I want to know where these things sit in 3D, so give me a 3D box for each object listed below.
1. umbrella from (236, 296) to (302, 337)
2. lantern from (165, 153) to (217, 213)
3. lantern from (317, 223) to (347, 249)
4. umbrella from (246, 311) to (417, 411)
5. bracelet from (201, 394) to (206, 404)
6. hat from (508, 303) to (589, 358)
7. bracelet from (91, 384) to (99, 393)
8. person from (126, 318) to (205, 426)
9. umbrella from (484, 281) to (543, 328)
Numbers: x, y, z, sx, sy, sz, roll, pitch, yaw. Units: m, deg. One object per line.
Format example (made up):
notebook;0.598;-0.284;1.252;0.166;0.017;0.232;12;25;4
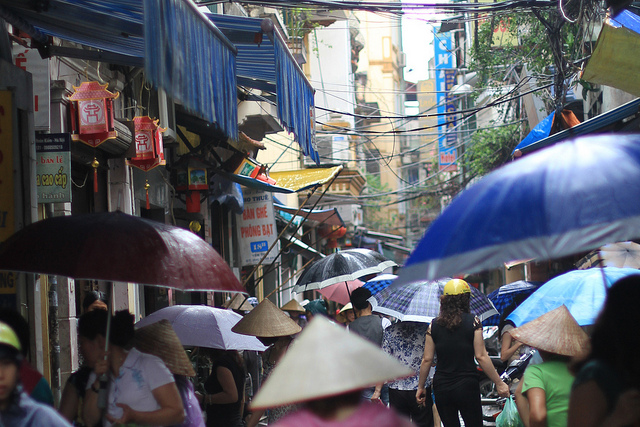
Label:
umbrella;-0.664;1.343;14.047;0.966;0.474;1.050;-3;-9;1
lantern;-2.043;-0.484;18.644;0.611;1.033;0.750;-3;-3;-2
lantern;0.405;0.703;33.877;0.839;0.840;0.885;-3;-3;23
umbrella;0.013;1.290;9.335;0.818;0.360;0.859;-10;-21;-26
bracelet;-1.366;2.225;13.270;0.019;0.080;0.079;10;18;3
hat;2.392;1.261;11.613;0.497;0.233;0.517;25;-6;14
bracelet;-2.205;1.745;11.103;0.115;0.080;0.017;-3;-2;43
person;-1.518;1.617;11.503;0.839;0.455;0.953;10;-4;-18
umbrella;2.962;1.396;17.481;0.846;0.305;0.925;-12;-40;-12
